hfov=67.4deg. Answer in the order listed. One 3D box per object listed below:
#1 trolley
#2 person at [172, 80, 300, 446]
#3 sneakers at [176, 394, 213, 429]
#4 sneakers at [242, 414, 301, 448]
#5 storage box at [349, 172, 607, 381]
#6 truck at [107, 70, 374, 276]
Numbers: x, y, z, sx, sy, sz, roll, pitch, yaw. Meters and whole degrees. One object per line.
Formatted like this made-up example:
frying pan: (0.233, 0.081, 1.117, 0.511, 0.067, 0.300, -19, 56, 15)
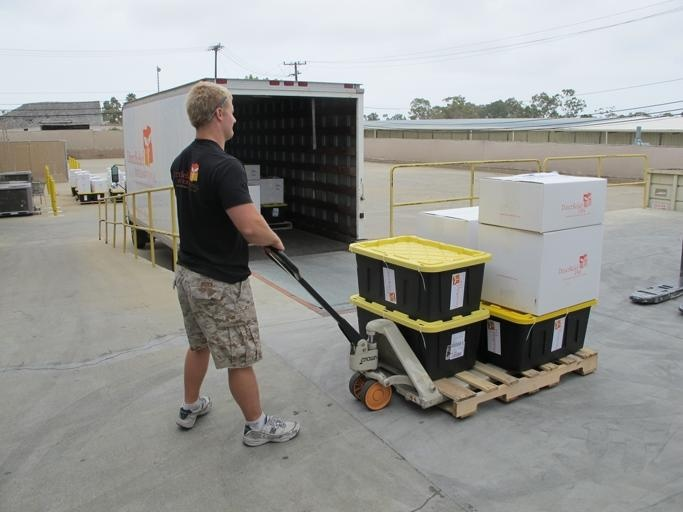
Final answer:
trolley: (0.734, 0.517, 4.296, 2.532, 1.199, 1.281, -7, 13, -35)
person: (-0.831, 0.094, 3.571, 0.852, 2.554, 0.518, 5, 17, 32)
sneakers: (-1.100, 1.186, 3.979, 0.126, 0.156, 0.350, 8, 19, 17)
sneakers: (-0.506, 1.244, 3.789, 0.461, 0.199, 0.175, -5, 10, -23)
storage box: (1.741, -0.134, 5.463, 2.339, 2.234, 1.490, -11, 16, -36)
truck: (-2.383, -1.946, 10.345, 3.072, 2.942, 5.463, -6, 18, -31)
